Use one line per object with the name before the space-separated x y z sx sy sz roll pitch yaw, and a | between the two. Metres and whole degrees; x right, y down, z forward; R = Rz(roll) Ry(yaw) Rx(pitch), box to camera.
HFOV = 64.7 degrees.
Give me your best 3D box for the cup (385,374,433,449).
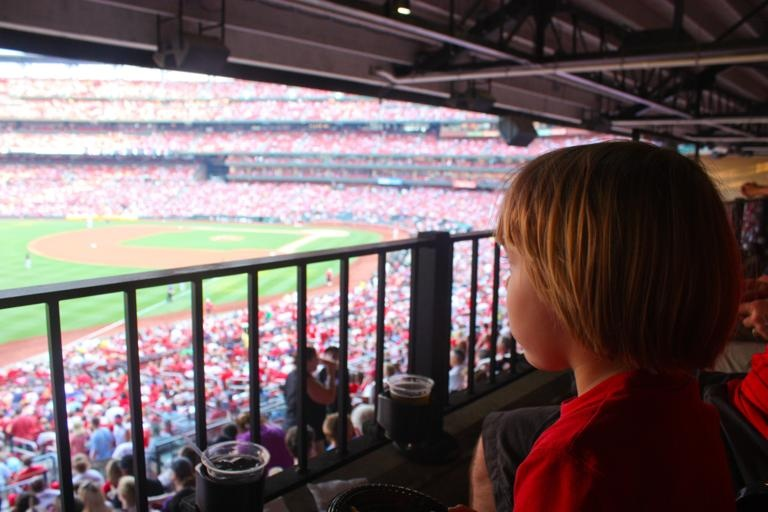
cup | 0.106 0.747 3.000 0.316 0.329 0.307 1 4 0
